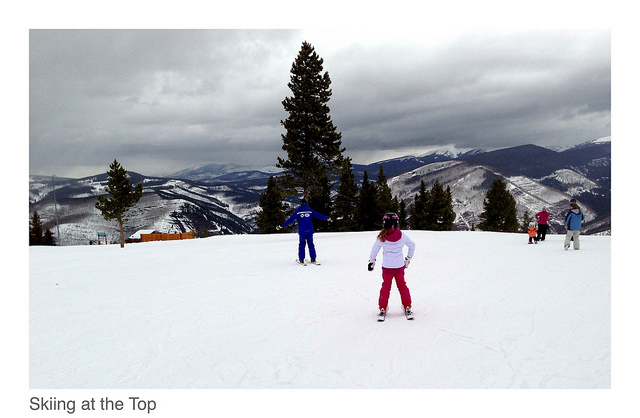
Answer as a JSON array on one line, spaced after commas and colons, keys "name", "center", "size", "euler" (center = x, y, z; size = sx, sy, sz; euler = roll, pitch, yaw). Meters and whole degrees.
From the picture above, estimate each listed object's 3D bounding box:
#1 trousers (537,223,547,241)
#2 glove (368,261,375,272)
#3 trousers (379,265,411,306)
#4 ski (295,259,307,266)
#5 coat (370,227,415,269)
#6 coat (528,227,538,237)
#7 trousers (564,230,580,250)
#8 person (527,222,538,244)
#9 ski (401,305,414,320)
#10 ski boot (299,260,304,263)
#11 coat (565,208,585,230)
[{"name": "trousers", "center": [12.577, 1.301, 27.716], "size": [0.505, 1.021, 1.117], "euler": [-2, 0, 25]}, {"name": "glove", "center": [1.842, 2.081, 17.609], "size": [0.216, 0.352, 0.094], "euler": [3, 9, 23]}, {"name": "trousers", "center": [2.645, 2.747, 17.526], "size": [1.073, 1.360, 0.299], "euler": [-2, 0, 7]}, {"name": "ski", "center": [-0.934, 2.534, 23.426], "size": [0.509, 0.225, 0.168], "euler": [29, 33, 30]}, {"name": "coat", "center": [2.579, 1.377, 17.519], "size": [1.512, 1.377, 0.409], "euler": [-2, 0, 4]}, {"name": "coat", "center": [11.356, 1.214, 26.311], "size": [0.501, 0.511, 0.130], "euler": [-5, 7, -3]}, {"name": "trousers", "center": [11.989, 1.450, 23.273], "size": [0.623, 1.004, 0.627], "euler": [-2, 0, 28]}, {"name": "person", "center": [11.606, 1.363, 26.702], "size": [0.497, 1.155, 1.606], "euler": [-2, 0, 24]}, {"name": "ski", "center": [3.167, 3.767, 17.550], "size": [0.196, 0.273, 0.587], "euler": [-4, 2, -4]}, {"name": "ski boot", "center": [-0.887, 2.484, 23.228], "size": [0.237, 0.106, 0.104], "euler": [-2, 0, 15]}, {"name": "coat", "center": [12.045, 0.536, 23.357], "size": [1.079, 1.360, 0.837], "euler": [2, -2, 27]}]
